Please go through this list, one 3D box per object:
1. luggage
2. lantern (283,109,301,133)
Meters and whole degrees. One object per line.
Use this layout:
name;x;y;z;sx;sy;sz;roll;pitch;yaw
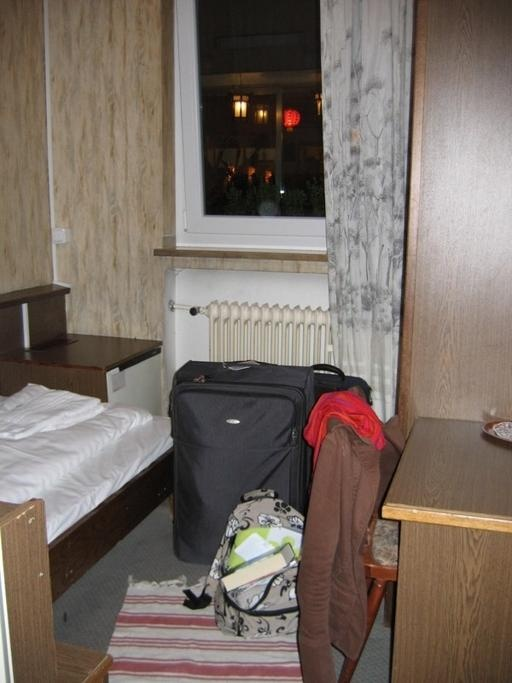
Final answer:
luggage;-0.088;0.341;1.990;0.447;0.845;0.450;7;36;2
lantern;0.169;-1.038;2.544;0.069;0.112;0.082;-2;17;-14
